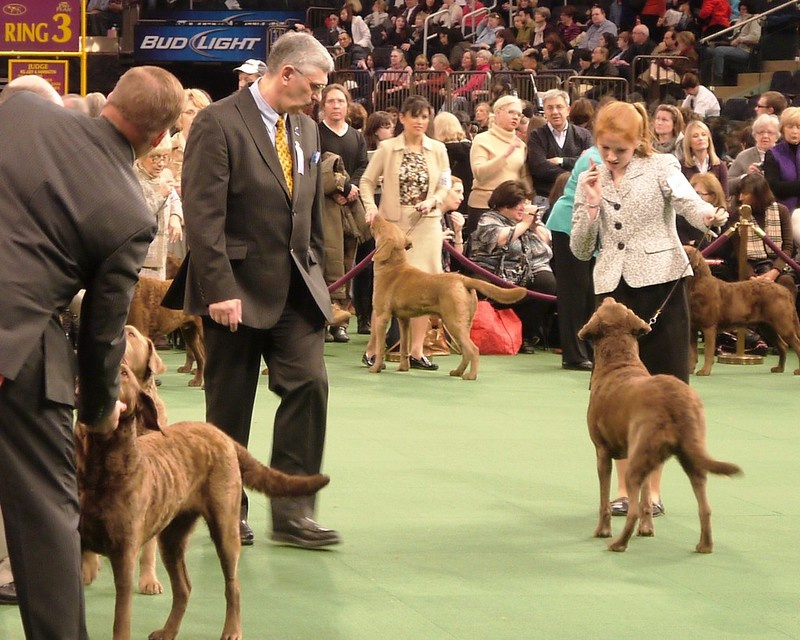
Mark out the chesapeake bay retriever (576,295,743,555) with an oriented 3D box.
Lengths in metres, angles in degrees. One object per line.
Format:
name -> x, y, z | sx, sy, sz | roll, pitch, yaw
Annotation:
chesapeake bay retriever -> 1.307, 0.557, 4.773 | 0.517, 1.249, 1.033 | 1, 8, -6

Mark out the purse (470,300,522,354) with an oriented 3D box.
purse -> 1.116, 0.156, 11.050 | 0.430, 0.611, 0.671 | -23, -18, 37

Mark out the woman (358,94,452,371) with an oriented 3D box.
woman -> 0.062, -1.379, 9.498 | 0.933, 1.793, 0.726 | 1, 8, -4

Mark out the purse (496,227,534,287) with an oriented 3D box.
purse -> 1.389, -0.731, 10.944 | 0.463, 0.646, 0.275 | -2, -1, -28

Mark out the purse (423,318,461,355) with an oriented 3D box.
purse -> 0.535, 0.205, 11.108 | 0.424, 0.476, 0.462 | 3, -11, -40
